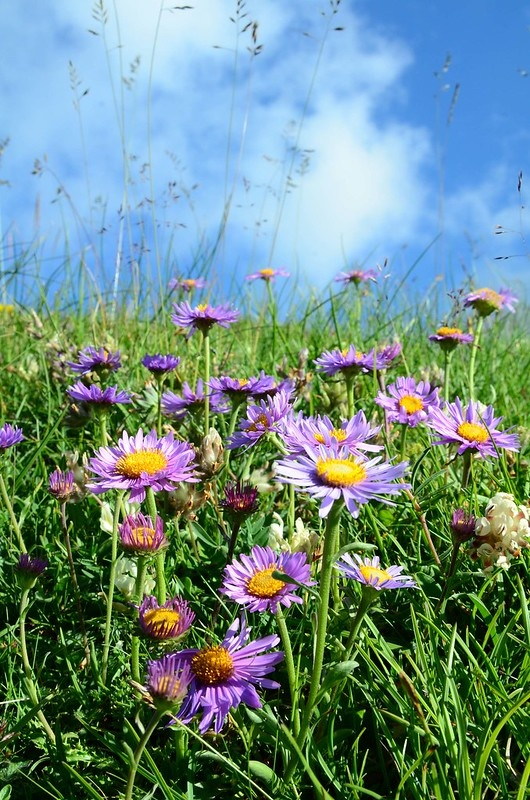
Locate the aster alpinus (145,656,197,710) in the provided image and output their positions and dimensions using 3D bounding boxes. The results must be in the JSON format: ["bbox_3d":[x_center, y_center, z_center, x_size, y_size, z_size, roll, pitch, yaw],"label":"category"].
[{"bbox_3d":[-0.152,0.444,1.224,0.059,0.087,0.045,-2,15,-23],"label":"aster alpinus"}]

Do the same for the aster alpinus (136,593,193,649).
[{"bbox_3d":[-0.191,0.398,1.420,0.074,0.055,0.074,6,4,34],"label":"aster alpinus"}]

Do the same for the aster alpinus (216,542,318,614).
[{"bbox_3d":[0.007,0.364,1.600,0.187,0.077,0.205,-17,11,-16],"label":"aster alpinus"}]

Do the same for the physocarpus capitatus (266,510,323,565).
[{"bbox_3d":[0.061,0.323,1.981,0.121,0.085,0.130,20,-16,46],"label":"physocarpus capitatus"}]
